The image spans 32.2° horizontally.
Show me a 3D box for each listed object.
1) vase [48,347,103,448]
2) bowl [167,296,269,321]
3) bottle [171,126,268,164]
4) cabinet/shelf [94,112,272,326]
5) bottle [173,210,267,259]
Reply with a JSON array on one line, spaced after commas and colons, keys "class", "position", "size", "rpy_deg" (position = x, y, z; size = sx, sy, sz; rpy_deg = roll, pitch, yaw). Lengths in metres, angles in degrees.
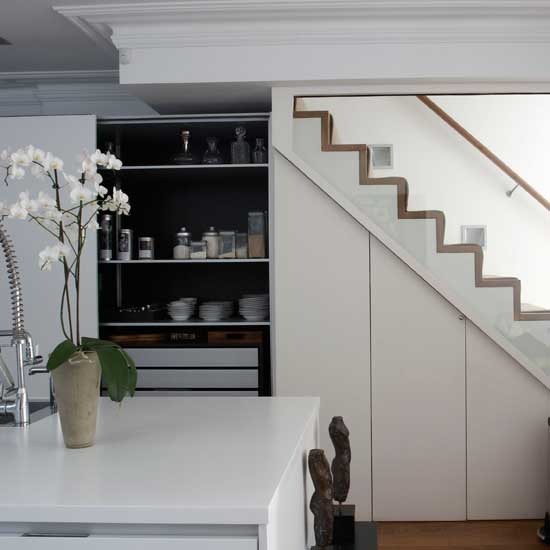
[{"class": "vase", "position": [-0.668, 0.415, 3.224], "size": [0.162, 0.313, 0.113], "rpy_deg": [-4, 10, -19]}, {"class": "bowl", "position": [-0.310, 0.167, 5.236], "size": [0.555, 0.144, 0.283], "rpy_deg": [0, 11, 4]}, {"class": "bottle", "position": [-0.261, -0.683, 5.205], "size": [0.577, 0.277, 0.212], "rpy_deg": [2, 4, 10]}, {"class": "cabinet/shelf", "position": [-0.483, -0.292, 5.166], "size": [0.944, 1.324, 0.349], "rpy_deg": [0, -2, 0]}, {"class": "bottle", "position": [-0.298, -0.229, 5.229], "size": [0.501, 0.243, 0.420], "rpy_deg": [-1, 10, -2]}]
